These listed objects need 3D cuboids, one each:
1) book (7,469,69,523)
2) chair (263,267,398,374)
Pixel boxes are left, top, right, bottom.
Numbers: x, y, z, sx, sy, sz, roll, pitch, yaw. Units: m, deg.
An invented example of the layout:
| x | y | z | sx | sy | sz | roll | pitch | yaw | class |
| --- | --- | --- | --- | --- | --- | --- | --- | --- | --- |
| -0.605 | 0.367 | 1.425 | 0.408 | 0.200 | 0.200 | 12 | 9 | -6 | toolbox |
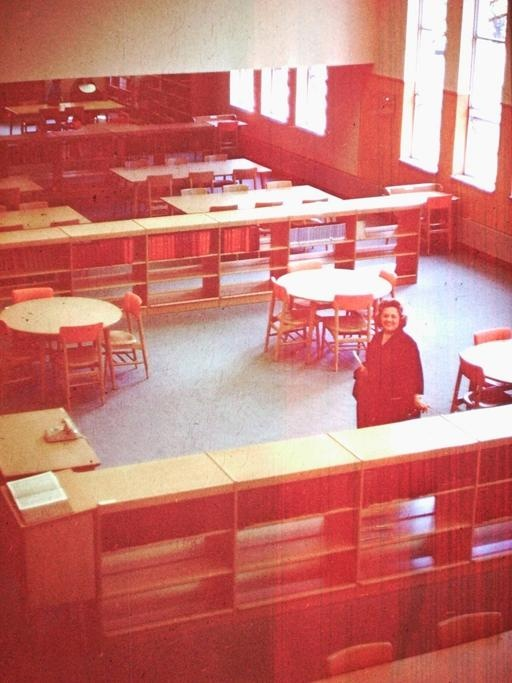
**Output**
| x | y | z | sx | sy | sz | roll | pitch | yaw | class |
| --- | --- | --- | --- | --- | --- | --- | --- | --- | --- |
| -0.866 | 0.610 | 2.634 | 0.166 | 0.046 | 0.184 | -11 | 40 | -23 | book |
| 0.563 | -0.250 | 5.610 | 0.869 | 0.613 | 0.950 | -1 | 26 | -4 | chair |
